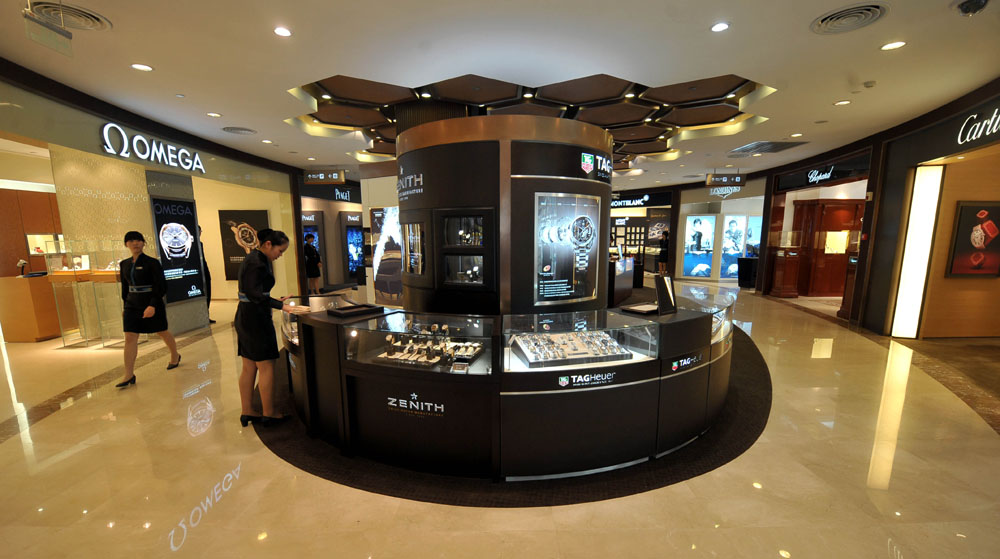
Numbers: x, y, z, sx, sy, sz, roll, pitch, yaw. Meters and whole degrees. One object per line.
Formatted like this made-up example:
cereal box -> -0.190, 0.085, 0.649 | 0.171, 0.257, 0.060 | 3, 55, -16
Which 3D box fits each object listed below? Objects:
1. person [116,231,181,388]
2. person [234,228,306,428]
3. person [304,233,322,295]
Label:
person -> -6.693, 0.496, 11.069 | 0.992, 2.789, 0.733 | -5, 8, -29
person -> -4.007, 0.797, 9.928 | 0.887, 3.261, 0.809 | -4, 7, -20
person -> -5.419, -0.479, 16.988 | 0.386, 1.705, 0.864 | -4, 7, -20
